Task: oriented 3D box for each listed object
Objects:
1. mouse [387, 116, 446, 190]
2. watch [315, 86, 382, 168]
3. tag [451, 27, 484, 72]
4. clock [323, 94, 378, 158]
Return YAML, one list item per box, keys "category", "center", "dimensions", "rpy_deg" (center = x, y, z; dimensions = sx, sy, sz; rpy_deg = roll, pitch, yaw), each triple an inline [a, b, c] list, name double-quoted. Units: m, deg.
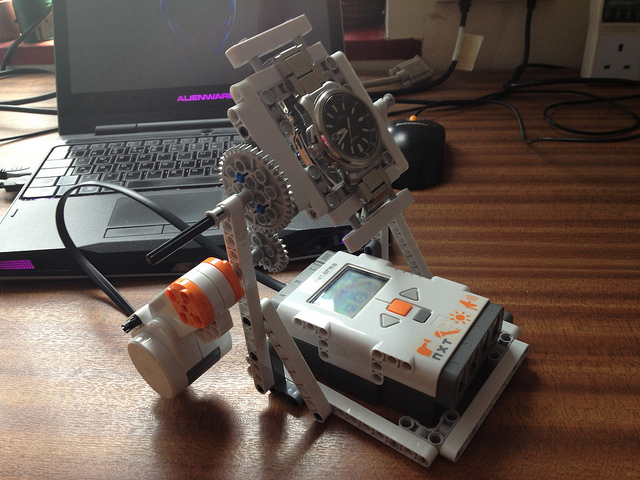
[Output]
- category: "mouse"
  center: [0.182, -0.175, 0.971]
  dimensions: [0.105, 0.095, 0.156]
  rpy_deg: [0, 38, 8]
- category: "watch"
  center: [0.040, -0.149, 0.680]
  dimensions: [0.094, 0.088, 0.068]
  rpy_deg: [-16, 38, -12]
- category: "tag"
  center: [0.363, -0.476, 1.274]
  dimensions: [0.012, 0.104, 0.076]
  rpy_deg: [-12, 37, -42]
- category: "clock"
  center: [0.042, -0.151, 0.681]
  dimensions: [0.084, 0.074, 0.055]
  rpy_deg: [-20, 39, -17]
